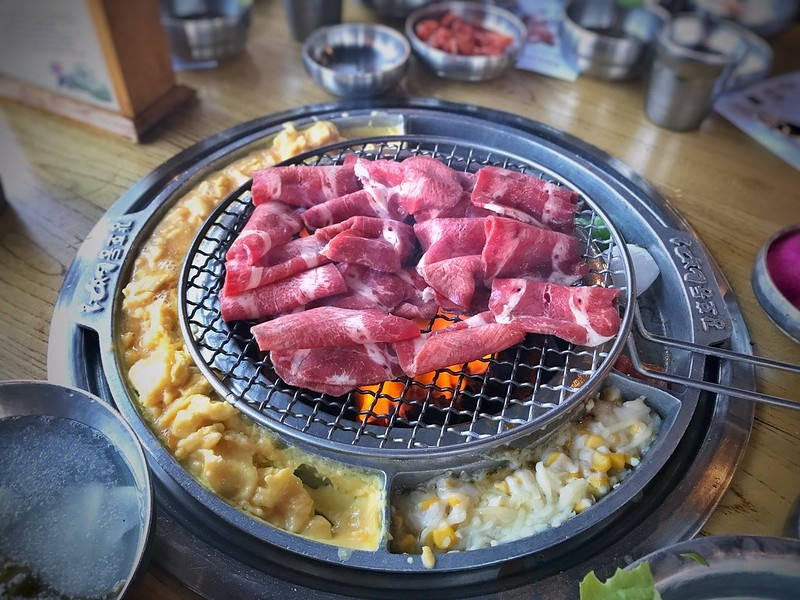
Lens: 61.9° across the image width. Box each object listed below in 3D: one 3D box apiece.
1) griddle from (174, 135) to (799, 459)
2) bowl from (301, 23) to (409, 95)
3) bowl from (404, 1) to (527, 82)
[{"bbox_3d":[0.081,0.168,2.316,1.900,0.277,1.283,3,68,2],"label":"griddle"},{"bbox_3d":[-0.237,-1.339,3.732,0.587,0.247,0.536,1,59,-2],"label":"bowl"},{"bbox_3d":[0.374,-1.509,3.880,0.687,0.229,0.579,14,60,5],"label":"bowl"}]
